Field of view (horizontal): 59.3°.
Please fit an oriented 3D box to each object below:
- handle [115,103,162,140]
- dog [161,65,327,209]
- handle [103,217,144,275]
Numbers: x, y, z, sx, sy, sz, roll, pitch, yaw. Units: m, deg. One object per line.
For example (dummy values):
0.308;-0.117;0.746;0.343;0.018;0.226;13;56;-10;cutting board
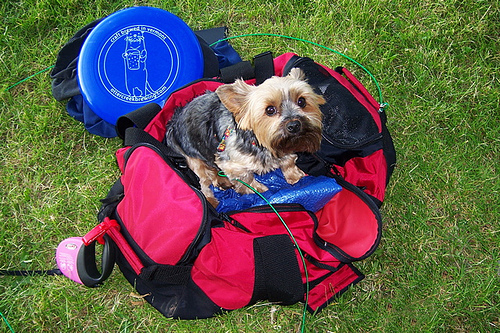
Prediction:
-1.065;-0.437;4.267;0.434;0.293;0.273;-22;99;-15;handle
0.032;-0.366;4.402;1.564;1.039;1.209;15;53;13;dog
-1.101;0.668;3.825;0.125;0.147;0.569;-41;72;25;handle
